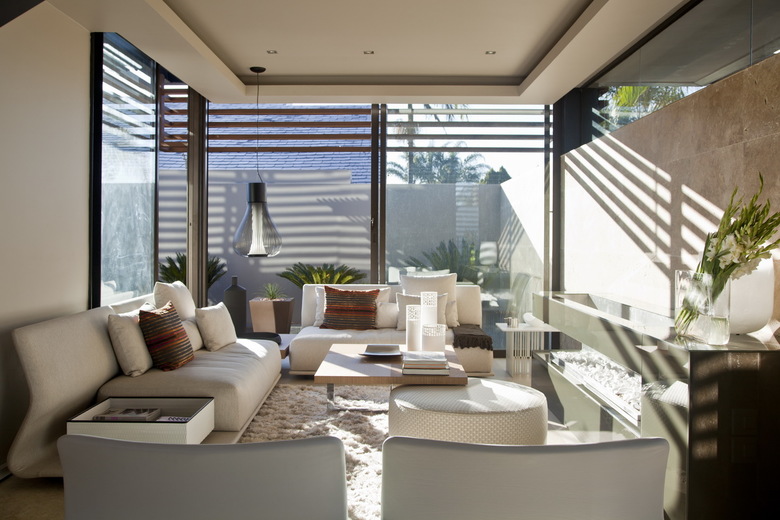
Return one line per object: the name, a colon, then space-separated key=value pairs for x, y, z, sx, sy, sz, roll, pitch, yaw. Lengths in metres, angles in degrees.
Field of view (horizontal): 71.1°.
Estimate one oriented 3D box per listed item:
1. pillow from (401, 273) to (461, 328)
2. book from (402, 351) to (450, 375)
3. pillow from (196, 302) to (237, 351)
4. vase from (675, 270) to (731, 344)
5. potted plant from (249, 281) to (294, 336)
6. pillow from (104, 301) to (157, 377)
pillow: x=0.393 y=0.392 z=5.174 sx=0.514 sy=0.503 sz=0.187 roll=0 pitch=-4 yaw=8
book: x=0.241 y=0.700 z=3.772 sx=0.312 sy=0.097 sz=0.347 roll=1 pitch=4 yaw=1
pillow: x=-1.547 y=0.593 z=4.825 sx=0.144 sy=0.259 sz=0.384 roll=-8 pitch=2 yaw=11
vase: x=1.708 y=0.262 z=2.960 sx=0.157 sy=0.460 sz=0.346 roll=5 pitch=-5 yaw=-26
potted plant: x=-1.467 y=0.606 z=6.858 sx=0.786 sy=0.610 sz=0.786 roll=-2 pitch=3 yaw=-19
pillow: x=-1.887 y=0.597 z=3.968 sx=0.149 sy=0.296 sz=0.433 roll=-10 pitch=8 yaw=-10
